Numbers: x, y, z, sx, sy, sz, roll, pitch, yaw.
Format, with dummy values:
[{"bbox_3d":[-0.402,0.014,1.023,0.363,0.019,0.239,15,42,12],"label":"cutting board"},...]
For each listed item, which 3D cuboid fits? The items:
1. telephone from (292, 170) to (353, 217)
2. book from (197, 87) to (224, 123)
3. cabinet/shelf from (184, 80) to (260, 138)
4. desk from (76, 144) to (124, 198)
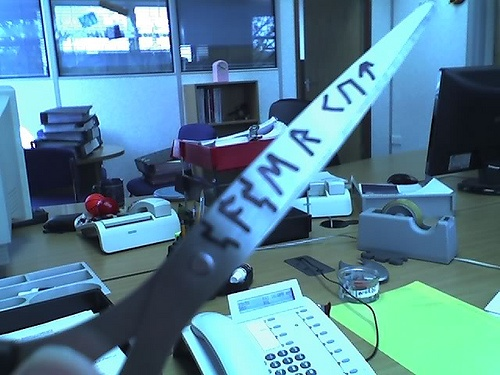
[{"bbox_3d":[0.312,0.032,1.612,0.279,0.126,0.276,-6,7,11],"label":"telephone"},{"bbox_3d":[-0.370,-0.894,4.245,0.305,0.566,0.422,1,17,3],"label":"book"},{"bbox_3d":[-0.368,-0.893,4.328,0.930,0.672,0.494,-9,21,-32],"label":"cabinet/shelf"},{"bbox_3d":[-1.090,-0.133,2.800,0.345,0.239,0.362,23,38,36],"label":"desk"}]
